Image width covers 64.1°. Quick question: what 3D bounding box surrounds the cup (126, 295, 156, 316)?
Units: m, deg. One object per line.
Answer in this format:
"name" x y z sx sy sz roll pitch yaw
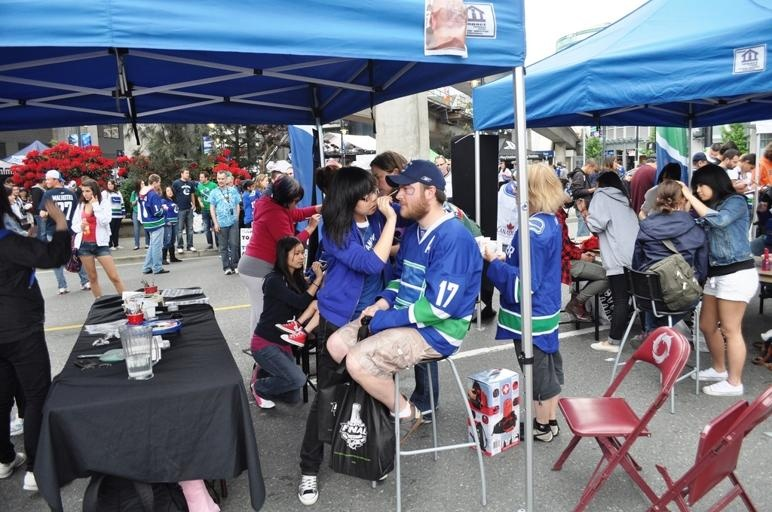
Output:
"cup" -2.065 0.406 5.157 0.281 0.200 0.227 3 -3 -43

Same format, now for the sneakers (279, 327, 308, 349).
"sneakers" -0.860 0.776 5.844 0.110 0.160 0.292 35 4 39

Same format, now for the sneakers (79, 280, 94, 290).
"sneakers" -5.300 0.499 10.862 0.150 0.182 0.391 -1 -11 -29

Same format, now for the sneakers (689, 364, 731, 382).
"sneakers" 3.282 1.199 6.311 0.418 0.172 0.173 0 -1 16

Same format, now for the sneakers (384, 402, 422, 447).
"sneakers" 0.154 1.275 4.957 0.226 0.174 0.517 30 36 -6

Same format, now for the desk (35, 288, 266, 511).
"desk" -1.886 1.064 5.140 1.031 0.525 1.853 -2 17 -13

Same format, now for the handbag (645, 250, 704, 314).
"handbag" 2.887 0.251 6.131 0.400 0.557 0.301 -28 2 -28

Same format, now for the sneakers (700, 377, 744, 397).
"sneakers" 3.379 1.315 6.221 0.390 0.162 0.161 0 -1 15

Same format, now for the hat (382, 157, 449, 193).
"hat" 0.234 -0.625 4.808 0.369 0.219 0.245 13 9 -3

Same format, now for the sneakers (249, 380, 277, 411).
"sneakers" -1.306 1.420 6.387 0.143 0.180 0.430 -17 22 -26

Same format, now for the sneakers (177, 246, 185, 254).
"sneakers" -5.307 -0.160 15.840 0.114 0.137 0.310 -6 -6 -27

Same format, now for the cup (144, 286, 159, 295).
"cup" -2.286 0.327 5.965 0.106 0.073 0.103 0 -4 0

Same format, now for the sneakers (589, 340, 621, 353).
"sneakers" 2.631 1.063 7.396 0.361 0.150 0.138 2 0 35

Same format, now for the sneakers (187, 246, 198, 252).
"sneakers" -4.955 -0.193 15.725 0.105 0.111 0.279 -6 3 -32

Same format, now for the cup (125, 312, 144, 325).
"cup" -1.938 0.472 4.737 0.097 0.069 0.098 0 1 0

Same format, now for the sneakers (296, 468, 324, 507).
"sneakers" -0.626 1.886 4.996 0.211 0.232 0.577 0 -9 -5

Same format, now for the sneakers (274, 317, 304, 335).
"sneakers" -0.932 0.671 5.873 0.263 0.114 0.104 8 -6 -15

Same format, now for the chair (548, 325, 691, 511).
"chair" 2.033 1.442 5.331 1.090 1.858 1.037 3 10 2
